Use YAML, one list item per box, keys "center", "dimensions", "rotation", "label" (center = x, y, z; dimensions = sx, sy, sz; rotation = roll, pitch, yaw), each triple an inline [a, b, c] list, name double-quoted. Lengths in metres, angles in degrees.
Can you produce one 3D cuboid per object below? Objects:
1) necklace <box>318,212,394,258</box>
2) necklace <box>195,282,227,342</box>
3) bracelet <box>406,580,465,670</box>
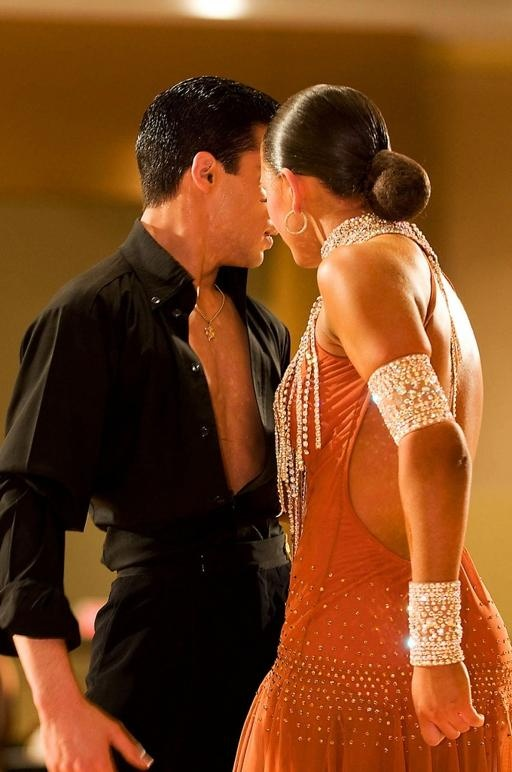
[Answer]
- center: [0.127, -0.201, 1.006]
  dimensions: [0.080, 0.023, 0.069]
  rotation: [-18, 16, 43]
  label: "necklace"
- center: [-0.092, -0.151, 1.522]
  dimensions: [0.070, 0.101, 0.015]
  rotation: [1, -13, -14]
  label: "necklace"
- center: [0.203, 0.264, 0.854]
  dimensions: [0.059, 0.099, 0.063]
  rotation: [1, 21, 7]
  label: "bracelet"
